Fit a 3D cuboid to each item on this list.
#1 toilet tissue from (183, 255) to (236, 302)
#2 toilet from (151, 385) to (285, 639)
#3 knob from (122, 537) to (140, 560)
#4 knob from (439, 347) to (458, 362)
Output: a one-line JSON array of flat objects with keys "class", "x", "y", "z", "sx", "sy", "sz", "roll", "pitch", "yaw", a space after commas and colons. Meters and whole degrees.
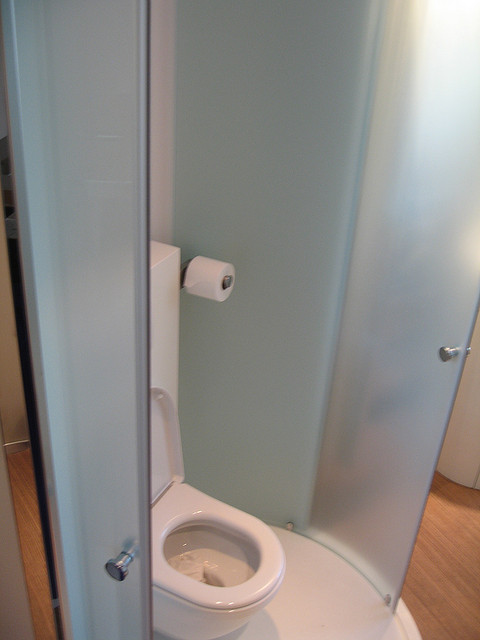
[{"class": "toilet tissue", "x": -0.093, "y": -0.135, "z": 1.422, "sx": 0.116, "sy": 0.120, "sz": 0.144, "roll": 17, "pitch": -74, "yaw": 15}, {"class": "toilet", "x": -0.071, "y": 0.588, "z": 1.554, "sx": 0.446, "sy": 0.381, "sz": 0.789, "roll": 13, "pitch": -66, "yaw": 29}, {"class": "knob", "x": -0.150, "y": 0.314, "z": 0.678, "sx": 0.022, "sy": 0.015, "sz": 0.015, "roll": 12, "pitch": -38, "yaw": 15}, {"class": "knob", "x": 0.560, "y": 0.086, "z": 1.329, "sx": 0.031, "sy": 0.047, "sz": 0.039, "roll": 0, "pitch": -71, "yaw": 41}]
